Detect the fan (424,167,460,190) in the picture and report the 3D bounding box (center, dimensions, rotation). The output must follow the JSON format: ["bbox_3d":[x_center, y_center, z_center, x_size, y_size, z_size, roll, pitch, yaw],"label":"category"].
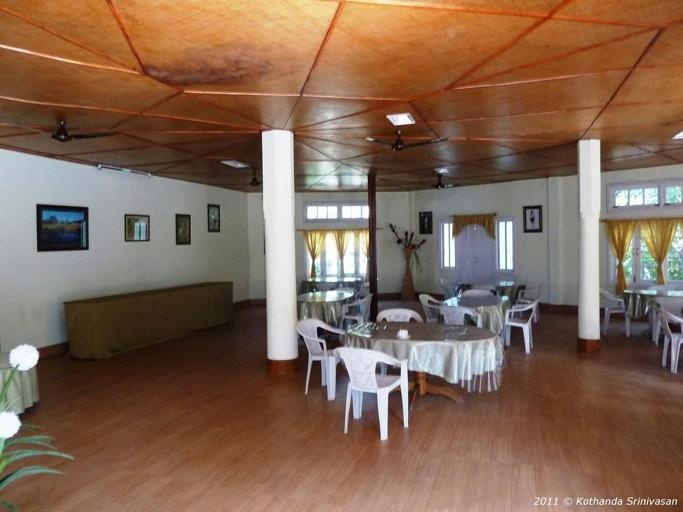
[{"bbox_3d":[2.267,-1.803,10.776,0.712,0.783,0.737,-2,7,9],"label":"fan"}]

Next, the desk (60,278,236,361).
[{"bbox_3d":[-3.479,1.145,8.884,0.587,1.024,3.052,3,7,31],"label":"desk"}]

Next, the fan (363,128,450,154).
[{"bbox_3d":[0.904,-1.695,7.174,1.120,0.311,1.689,2,7,31],"label":"fan"}]

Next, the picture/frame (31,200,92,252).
[{"bbox_3d":[-4.810,-0.515,8.027,0.069,0.799,0.917,-4,-2,31],"label":"picture/frame"}]

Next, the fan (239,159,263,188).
[{"bbox_3d":[-1.827,-1.593,9.493,0.379,0.465,0.611,0,3,18],"label":"fan"}]
